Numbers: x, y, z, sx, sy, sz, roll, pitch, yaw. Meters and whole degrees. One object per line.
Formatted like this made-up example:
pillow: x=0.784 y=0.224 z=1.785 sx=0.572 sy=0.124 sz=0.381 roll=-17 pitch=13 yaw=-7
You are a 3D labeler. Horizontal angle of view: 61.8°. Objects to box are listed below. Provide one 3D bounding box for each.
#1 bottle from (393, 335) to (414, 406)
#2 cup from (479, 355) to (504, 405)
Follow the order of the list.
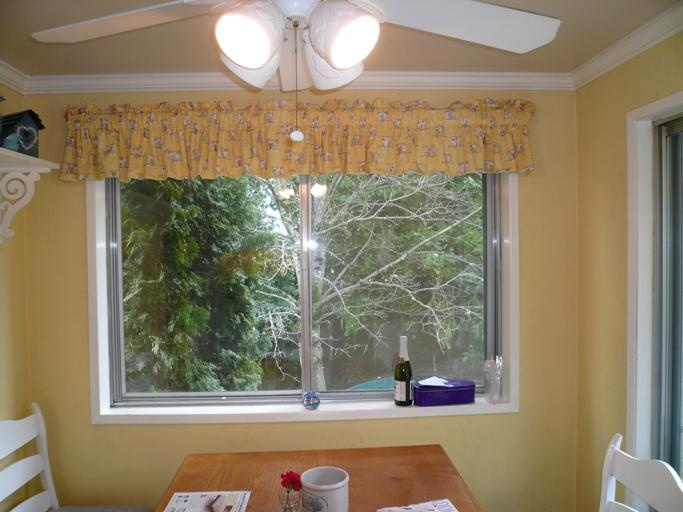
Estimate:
bottle: x=0.355 y=0.684 z=3.455 sx=0.105 sy=0.407 sz=0.175 roll=-1 pitch=-4 yaw=-31
cup: x=0.932 y=0.738 z=3.467 sx=0.115 sy=0.272 sz=0.150 roll=-4 pitch=-4 yaw=18
